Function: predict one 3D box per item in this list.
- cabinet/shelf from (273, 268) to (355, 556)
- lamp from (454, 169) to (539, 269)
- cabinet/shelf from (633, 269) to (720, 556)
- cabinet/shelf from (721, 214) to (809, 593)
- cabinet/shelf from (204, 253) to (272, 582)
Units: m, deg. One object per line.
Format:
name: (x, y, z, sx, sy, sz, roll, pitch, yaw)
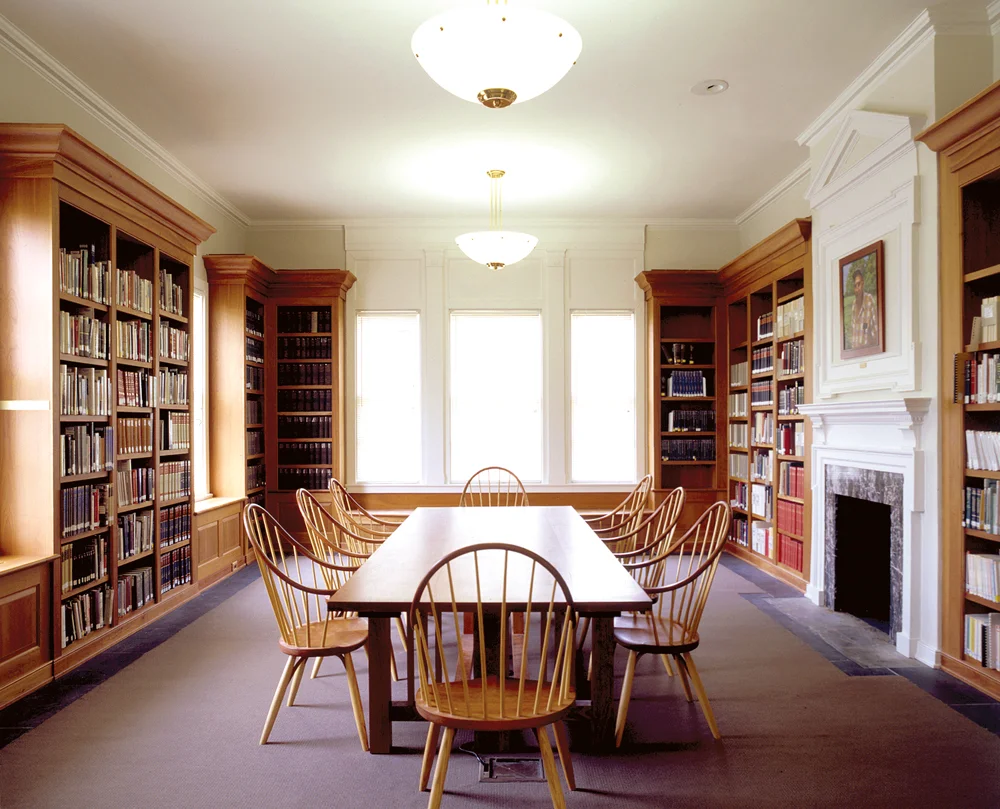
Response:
cabinet/shelf: (-1.912, 0.157, 7.964, 0.708, 3.003, 0.449, 1, 6, 11)
lamp: (-0.040, -1.531, 6.205, 0.556, 0.682, 0.609, -7, 19, -21)
cabinet/shelf: (1.998, 0.343, 7.945, 0.648, 2.557, 0.401, 1, 5, 34)
cabinet/shelf: (2.389, 0.011, 6.907, 0.501, 2.154, 1.865, -2, 0, 6)
cabinet/shelf: (-2.282, 0.029, 7.168, 1.087, 2.552, 0.395, 8, 13, 42)
